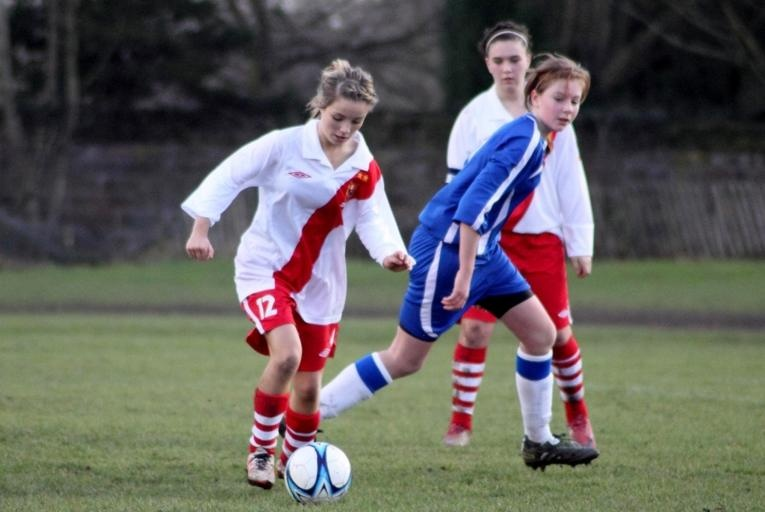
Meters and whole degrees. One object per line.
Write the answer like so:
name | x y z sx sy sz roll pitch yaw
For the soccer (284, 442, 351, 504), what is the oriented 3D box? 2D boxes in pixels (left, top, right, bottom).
soccer | -0.503 1.646 8.708 0.454 0.403 0.458 25 4 28

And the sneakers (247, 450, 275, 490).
sneakers | -0.931 1.637 8.799 0.224 0.305 0.268 -1 10 -6
